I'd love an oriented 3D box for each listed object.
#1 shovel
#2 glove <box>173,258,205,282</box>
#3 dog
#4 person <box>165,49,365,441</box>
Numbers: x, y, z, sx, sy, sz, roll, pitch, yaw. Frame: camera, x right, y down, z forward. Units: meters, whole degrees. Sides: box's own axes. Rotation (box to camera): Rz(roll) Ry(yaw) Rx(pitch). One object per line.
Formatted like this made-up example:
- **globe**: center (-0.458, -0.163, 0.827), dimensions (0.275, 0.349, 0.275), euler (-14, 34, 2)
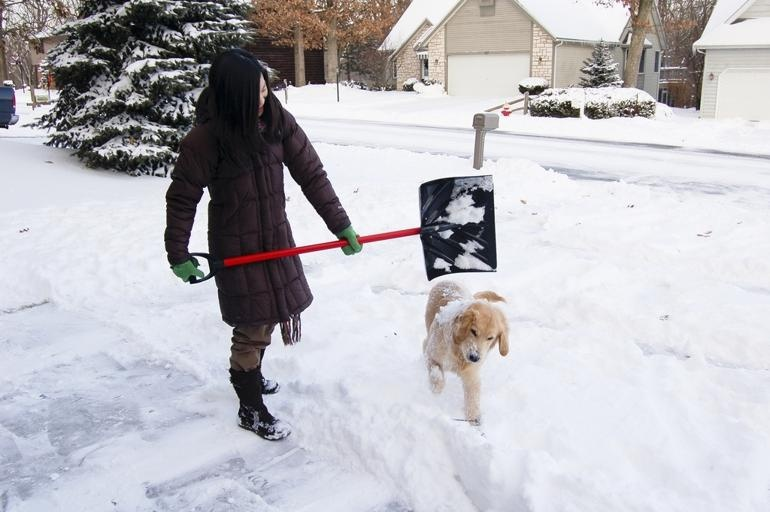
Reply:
- **shovel**: center (-0.312, -0.125, 5.626), dimensions (2.862, 1.095, 0.145), euler (-10, 24, -12)
- **glove**: center (-1.720, 0.112, 5.176), dimensions (0.246, 0.185, 0.132), euler (-16, 30, 37)
- **dog**: center (0.713, 0.867, 5.592), dimensions (0.622, 1.086, 0.823), euler (-9, 20, -25)
- **person**: center (-1.120, -0.067, 5.369), dimensions (1.545, 3.270, 1.014), euler (-14, 27, -34)
